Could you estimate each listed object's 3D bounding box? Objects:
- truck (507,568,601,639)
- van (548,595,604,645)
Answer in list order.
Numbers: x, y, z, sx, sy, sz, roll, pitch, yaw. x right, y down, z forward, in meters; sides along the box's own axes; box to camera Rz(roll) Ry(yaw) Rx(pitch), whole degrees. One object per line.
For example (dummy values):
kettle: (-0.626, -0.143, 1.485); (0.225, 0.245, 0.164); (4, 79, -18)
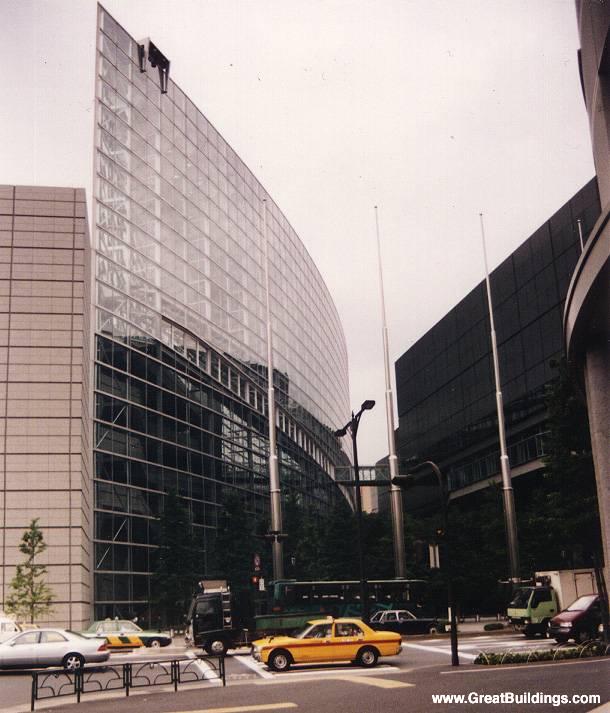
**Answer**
truck: (9.824, 9.504, 34.331); (3.471, 2.456, 1.769); (0, -12, -19)
van: (8.284, 8.305, 28.025); (1.998, 1.153, 1.210); (12, -34, -20)
